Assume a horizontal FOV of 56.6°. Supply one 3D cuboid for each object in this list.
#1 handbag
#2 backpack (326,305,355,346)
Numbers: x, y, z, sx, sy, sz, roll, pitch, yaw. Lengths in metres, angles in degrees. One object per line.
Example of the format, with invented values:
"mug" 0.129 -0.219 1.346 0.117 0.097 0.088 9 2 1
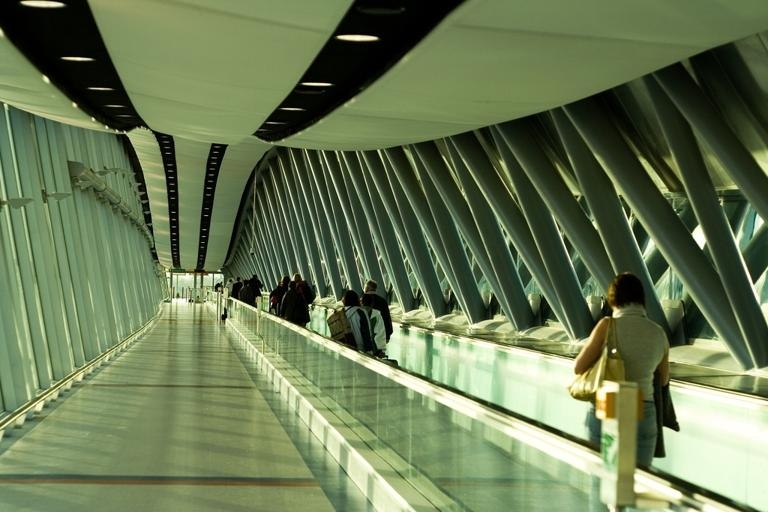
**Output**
"handbag" 1.965 0.965 6.623 0.344 0.797 0.421 2 -4 -24
"backpack" -0.788 1.197 12.161 0.363 0.617 0.502 4 -5 -43
